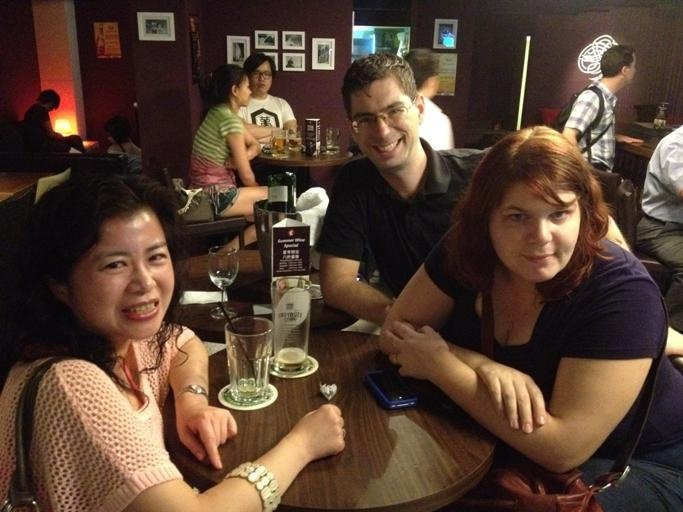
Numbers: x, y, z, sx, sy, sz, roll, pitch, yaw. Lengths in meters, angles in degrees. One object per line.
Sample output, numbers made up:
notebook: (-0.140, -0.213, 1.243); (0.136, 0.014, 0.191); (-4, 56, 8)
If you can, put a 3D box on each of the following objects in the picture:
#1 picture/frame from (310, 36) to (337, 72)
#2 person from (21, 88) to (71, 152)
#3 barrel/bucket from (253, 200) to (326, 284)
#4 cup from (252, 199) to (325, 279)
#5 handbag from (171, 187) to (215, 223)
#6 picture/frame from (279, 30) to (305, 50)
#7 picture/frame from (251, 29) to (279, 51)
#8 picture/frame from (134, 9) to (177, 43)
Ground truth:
picture/frame: (-0.274, -2.893, 7.169); (0.424, 0.527, 0.040); (0, 19, -7)
person: (-4.470, -2.075, 7.886); (0.731, 0.987, 0.778); (8, 7, 1)
barrel/bucket: (-0.213, -0.062, 2.184); (0.294, 0.357, 0.331); (2, 13, 6)
cup: (-0.223, -0.050, 2.137); (0.289, 0.350, 0.323); (2, 17, 2)
handbag: (-1.150, -0.464, 4.196); (0.277, 0.286, 0.190); (15, 49, 44)
picture/frame: (-0.701, -3.058, 7.105); (0.242, 0.191, 0.017); (1, 14, -5)
picture/frame: (-1.089, -3.054, 7.087); (0.293, 0.255, 0.023); (1, 24, -9)
picture/frame: (-2.148, -2.660, 5.788); (0.358, 0.318, 0.027); (0, 19, -8)
